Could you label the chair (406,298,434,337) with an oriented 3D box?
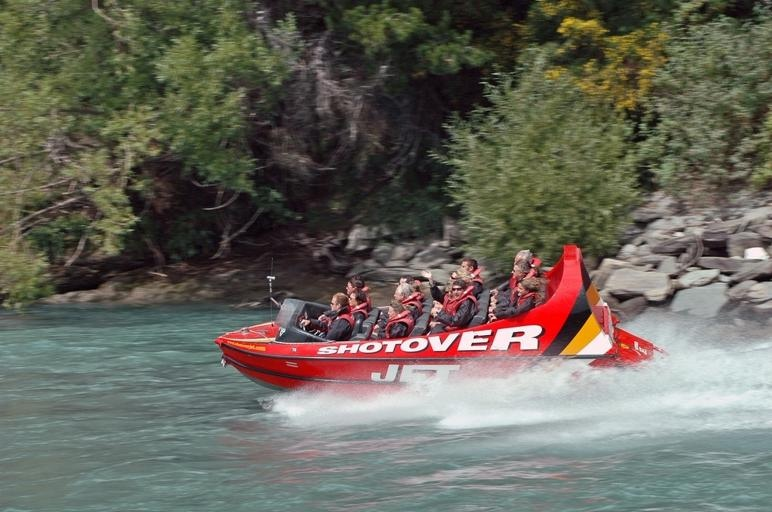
[{"bbox_3d":[0.686,1.264,16.236,0.279,0.187,1.131,3,26,27],"label":"chair"}]
